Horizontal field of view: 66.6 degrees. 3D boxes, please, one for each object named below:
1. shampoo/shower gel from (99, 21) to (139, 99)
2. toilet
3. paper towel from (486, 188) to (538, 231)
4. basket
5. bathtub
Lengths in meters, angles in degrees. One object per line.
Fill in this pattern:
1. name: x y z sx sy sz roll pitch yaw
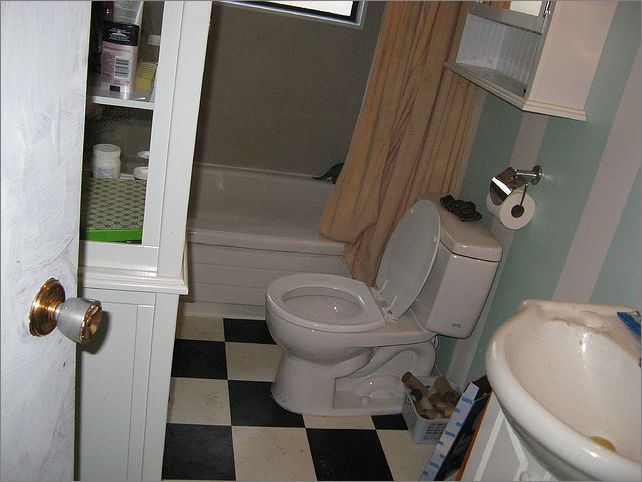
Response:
1. shampoo/shower gel: -0.479 -0.431 1.156 0.089 0.163 0.036 -2 25 -26
2. toilet: 0.205 0.275 2.101 0.849 0.961 0.494 4 23 -10
3. paper towel: 0.699 -0.108 1.776 0.154 0.185 0.124 6 23 -9
4. basket: 0.429 0.681 1.996 0.196 0.265 0.222 -1 23 -11
5. bathtub: -0.309 -0.026 2.577 1.108 0.399 0.464 6 19 -15
